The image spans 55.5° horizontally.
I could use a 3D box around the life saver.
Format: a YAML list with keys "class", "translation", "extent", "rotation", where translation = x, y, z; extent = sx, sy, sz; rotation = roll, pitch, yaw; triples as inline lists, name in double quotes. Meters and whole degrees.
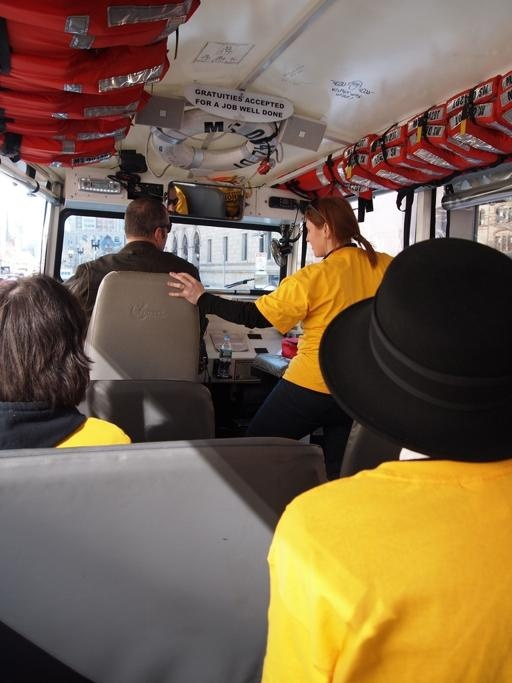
- class: "life saver"
  translation: [-0.229, -1.562, 3.781]
  extent: [0.728, 0.161, 0.639]
  rotation: [-5, -14, -12]

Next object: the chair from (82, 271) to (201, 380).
- class: "chair"
  translation: [-0.478, -0.116, 2.367]
  extent: [0.461, 0.589, 0.525]
  rotation: [3, 21, -10]

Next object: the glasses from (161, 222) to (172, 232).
- class: "glasses"
  translation: [-0.536, -0.682, 2.914]
  extent: [0.046, 0.031, 0.059]
  rotation: [-1, -8, -19]

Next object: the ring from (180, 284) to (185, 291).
- class: "ring"
  translation: [-0.326, -0.243, 2.178]
  extent: [0.033, 0.029, 0.008]
  rotation: [-8, -4, 40]
